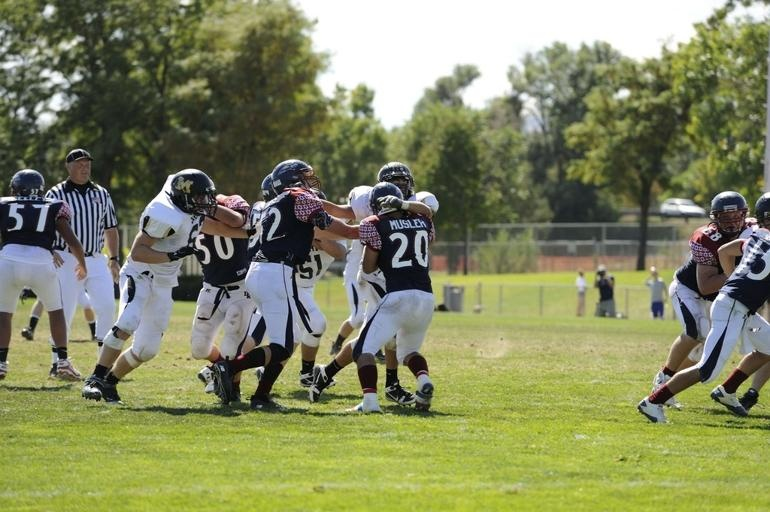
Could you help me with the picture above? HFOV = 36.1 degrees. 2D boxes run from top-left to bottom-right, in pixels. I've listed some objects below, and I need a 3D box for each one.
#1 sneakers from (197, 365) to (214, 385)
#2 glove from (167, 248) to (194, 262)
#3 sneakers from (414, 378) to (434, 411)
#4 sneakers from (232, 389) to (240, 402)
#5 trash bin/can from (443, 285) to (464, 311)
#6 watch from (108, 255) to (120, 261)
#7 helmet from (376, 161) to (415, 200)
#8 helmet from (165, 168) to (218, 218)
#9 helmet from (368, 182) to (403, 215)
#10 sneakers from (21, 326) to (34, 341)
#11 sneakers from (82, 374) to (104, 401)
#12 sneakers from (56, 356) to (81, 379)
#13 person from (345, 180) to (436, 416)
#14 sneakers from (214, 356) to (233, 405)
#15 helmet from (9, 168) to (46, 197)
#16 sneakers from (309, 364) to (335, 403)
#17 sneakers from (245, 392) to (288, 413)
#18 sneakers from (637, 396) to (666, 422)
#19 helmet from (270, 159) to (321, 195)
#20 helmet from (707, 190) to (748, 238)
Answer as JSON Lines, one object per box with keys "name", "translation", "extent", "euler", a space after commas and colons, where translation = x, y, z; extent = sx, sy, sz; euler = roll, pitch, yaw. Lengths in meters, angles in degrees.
{"name": "sneakers", "translation": [-2.243, 1.509, 14.868], "extent": [0.173, 0.197, 0.492], "euler": [7, -13, -27]}
{"name": "glove", "translation": [-2.414, -0.025, 14.068], "extent": [0.393, 0.121, 0.115], "euler": [-19, 13, -32]}
{"name": "sneakers", "translation": [0.469, 1.661, 14.051], "extent": [0.167, 0.423, 0.193], "euler": [9, 41, -10]}
{"name": "sneakers", "translation": [-1.808, 1.712, 14.426], "extent": [0.060, 0.073, 0.165], "euler": [3, -37, -2]}
{"name": "trash bin/can", "translation": [1.480, 0.880, 25.383], "extent": [0.438, 0.653, 0.593], "euler": [2, 13, 3]}
{"name": "watch", "translation": [-3.648, 0.039, 15.933], "extent": [0.110, 0.104, 0.103], "euler": [0, -6, 19]}
{"name": "helmet", "translation": [0.159, -0.958, 15.088], "extent": [0.391, 0.391, 0.502], "euler": [-2, -2, -11]}
{"name": "helmet", "translation": [-2.221, -0.707, 14.163], "extent": [0.629, 0.455, 0.443], "euler": [3, -9, 25]}
{"name": "helmet", "translation": [-0.034, -0.682, 14.236], "extent": [0.347, 0.411, 0.412], "euler": [2, 38, -10]}
{"name": "sneakers", "translation": [-5.414, 1.183, 17.878], "extent": [0.125, 0.245, 0.179], "euler": [2, 16, 2]}
{"name": "sneakers", "translation": [-3.479, 1.598, 14.165], "extent": [0.157, 0.198, 0.426], "euler": [5, 1, -35]}
{"name": "sneakers", "translation": [-4.078, 1.474, 15.121], "extent": [0.360, 0.230, 0.183], "euler": [7, -2, -30]}
{"name": "person", "translation": [0.097, 0.565, 14.088], "extent": [0.935, 2.477, 0.885], "euler": [1, 14, -1]}
{"name": "sneakers", "translation": [-1.922, 1.504, 14.211], "extent": [0.249, 0.534, 0.189], "euler": [-15, 3, 6]}
{"name": "helmet", "translation": [-4.598, -0.919, 15.235], "extent": [0.337, 0.327, 0.424], "euler": [-2, 2, -30]}
{"name": "sneakers", "translation": [-0.766, 1.518, 14.483], "extent": [0.250, 0.528, 0.187], "euler": [11, 0, -10]}
{"name": "sneakers", "translation": [-1.418, 1.783, 14.118], "extent": [0.535, 0.192, 0.171], "euler": [3, -2, -2]}
{"name": "sneakers", "translation": [3.134, 1.802, 13.937], "extent": [0.338, 0.280, 0.259], "euler": [5, 14, 14]}
{"name": "helmet", "translation": [-1.088, -0.961, 14.422], "extent": [0.560, 0.397, 0.391], "euler": [-7, -1, -5]}
{"name": "helmet", "translation": [4.229, -0.473, 14.522], "extent": [0.463, 0.493, 0.558], "euler": [-3, -8, 12]}
